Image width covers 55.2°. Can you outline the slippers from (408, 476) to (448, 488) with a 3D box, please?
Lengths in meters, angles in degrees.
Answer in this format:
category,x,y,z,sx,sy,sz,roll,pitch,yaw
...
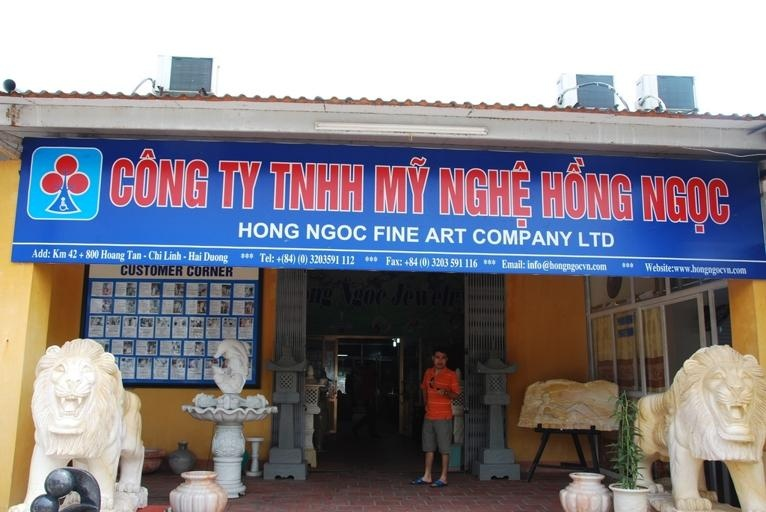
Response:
category,x,y,z,sx,sy,sz,roll,pitch,yaw
slippers,0.594,2.936,9.496,0.439,0.108,0.151,4,-13,0

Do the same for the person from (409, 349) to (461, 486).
category,x,y,z,sx,sy,sz,roll,pitch,yaw
person,0.714,2.136,9.801,0.570,1.711,0.552,1,-8,4
